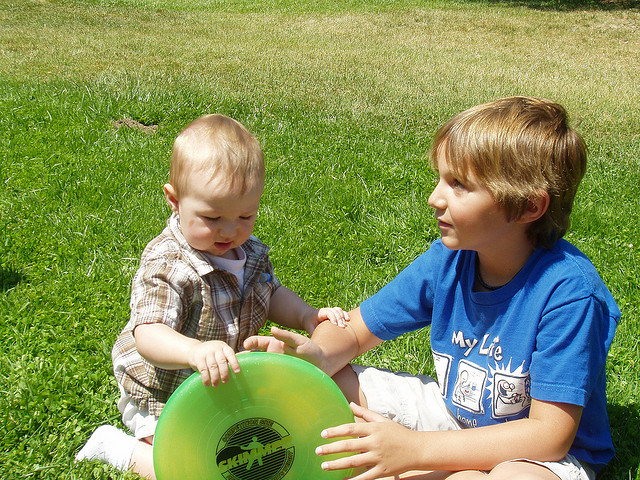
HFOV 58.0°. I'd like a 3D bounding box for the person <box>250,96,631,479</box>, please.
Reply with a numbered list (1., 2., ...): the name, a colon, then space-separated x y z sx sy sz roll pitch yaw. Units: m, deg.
1. person: 0.706 0.315 2.641 1.312 1.584 1.123 -3 33 -13
